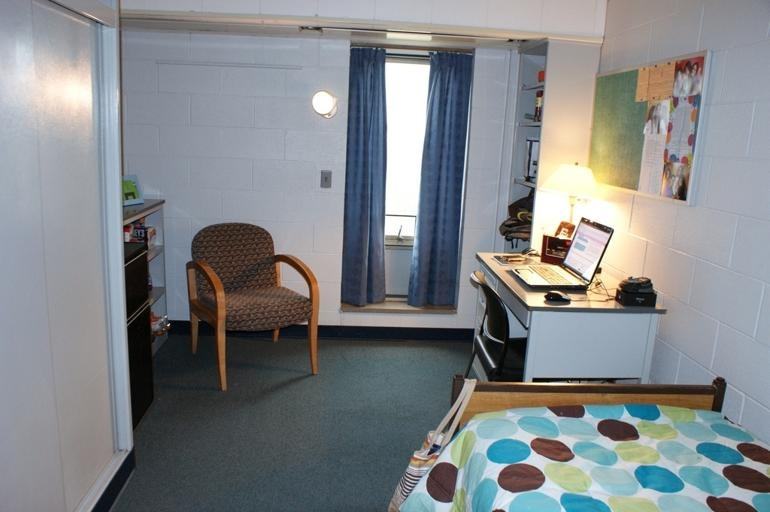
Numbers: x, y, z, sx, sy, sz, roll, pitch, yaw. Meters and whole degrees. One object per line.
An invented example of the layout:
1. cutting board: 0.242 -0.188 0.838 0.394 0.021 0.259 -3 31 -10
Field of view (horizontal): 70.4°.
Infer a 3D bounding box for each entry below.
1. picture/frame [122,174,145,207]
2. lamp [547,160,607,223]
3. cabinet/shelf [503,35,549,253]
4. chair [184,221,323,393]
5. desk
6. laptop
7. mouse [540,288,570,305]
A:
1. picture/frame: -2.026 -0.520 4.353 0.073 0.257 0.272 -7 1 32
2. lamp: 1.407 -0.574 4.267 0.459 0.689 0.490 2 15 12
3. cabinet/shelf: 1.170 -0.978 4.661 0.316 1.630 0.729 2 15 13
4. chair: -1.106 0.335 4.513 1.154 1.115 1.139 5 11 13
5. desk: 1.246 0.167 3.518 0.665 0.585 1.219 2 13 2
6. laptop: 1.220 0.031 3.850 0.562 0.426 0.620 1 10 -5
7. mouse: 1.089 0.257 3.459 0.140 0.049 0.080 -2 10 -3
